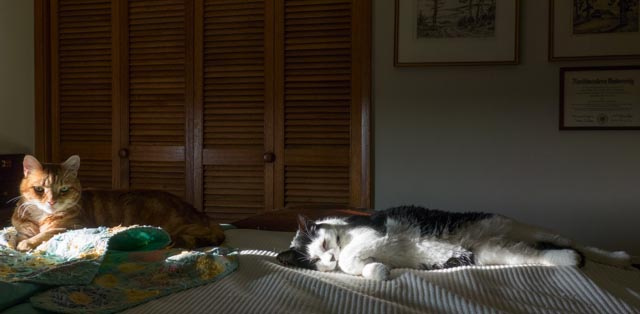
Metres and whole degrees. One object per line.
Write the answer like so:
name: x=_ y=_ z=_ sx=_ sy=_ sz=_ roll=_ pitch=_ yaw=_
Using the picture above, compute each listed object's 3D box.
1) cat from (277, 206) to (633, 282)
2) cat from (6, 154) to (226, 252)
cat: x=0.711 y=0.492 z=2.314 sx=1.487 sy=0.280 sz=0.332 roll=-1 pitch=35 yaw=1
cat: x=-1.232 y=0.309 z=2.612 sx=1.105 sy=0.433 sz=0.679 roll=7 pitch=-19 yaw=-26
